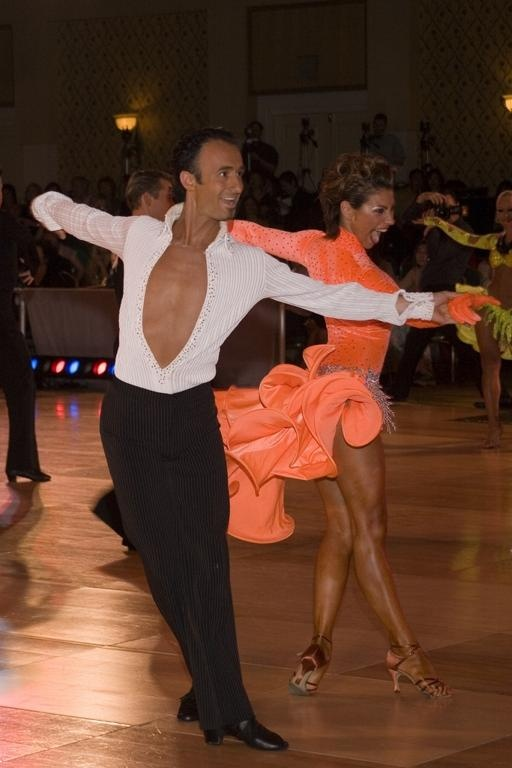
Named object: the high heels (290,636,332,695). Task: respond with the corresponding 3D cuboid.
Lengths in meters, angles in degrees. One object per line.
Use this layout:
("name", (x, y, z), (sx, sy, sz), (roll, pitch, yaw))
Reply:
("high heels", (0.149, 0.730, 1.816), (0.097, 0.149, 0.055), (23, 7, 27))

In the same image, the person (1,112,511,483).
("person", (-0.056, -0.141, 1.375), (0.918, 0.667, 0.371), (-1, -2, 14))

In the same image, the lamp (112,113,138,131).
("lamp", (-2.738, -5.477, 14.373), (0.528, 0.311, 0.488), (-7, 12, -26))
